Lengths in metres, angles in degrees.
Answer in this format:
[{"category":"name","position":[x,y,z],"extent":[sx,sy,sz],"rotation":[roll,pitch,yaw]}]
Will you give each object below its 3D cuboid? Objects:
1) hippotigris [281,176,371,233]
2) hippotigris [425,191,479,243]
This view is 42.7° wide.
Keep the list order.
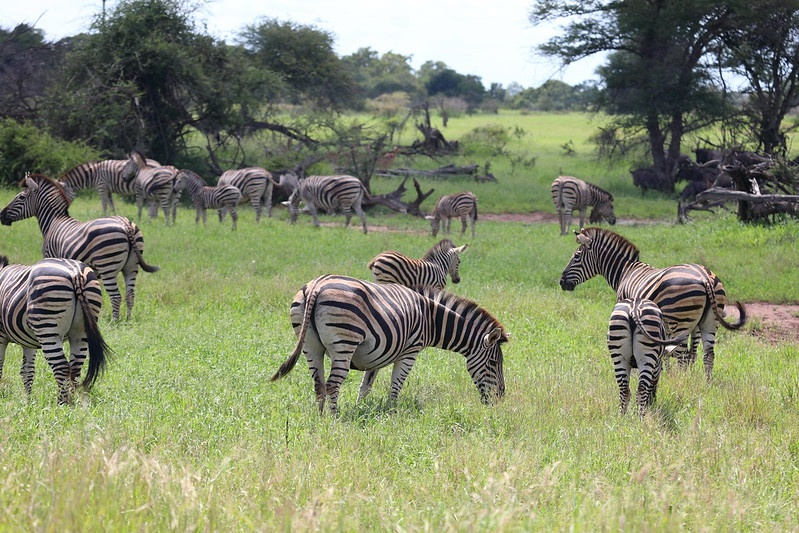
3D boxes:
[{"category":"hippotigris","position":[-2.780,-2.306,36.954],"extent":[3.148,2.053,1.032],"rotation":[-4,7,20]},{"category":"hippotigris","position":[1.933,-1.876,36.408],"extent":[1.576,1.518,2.510],"rotation":[2,8,1]}]
